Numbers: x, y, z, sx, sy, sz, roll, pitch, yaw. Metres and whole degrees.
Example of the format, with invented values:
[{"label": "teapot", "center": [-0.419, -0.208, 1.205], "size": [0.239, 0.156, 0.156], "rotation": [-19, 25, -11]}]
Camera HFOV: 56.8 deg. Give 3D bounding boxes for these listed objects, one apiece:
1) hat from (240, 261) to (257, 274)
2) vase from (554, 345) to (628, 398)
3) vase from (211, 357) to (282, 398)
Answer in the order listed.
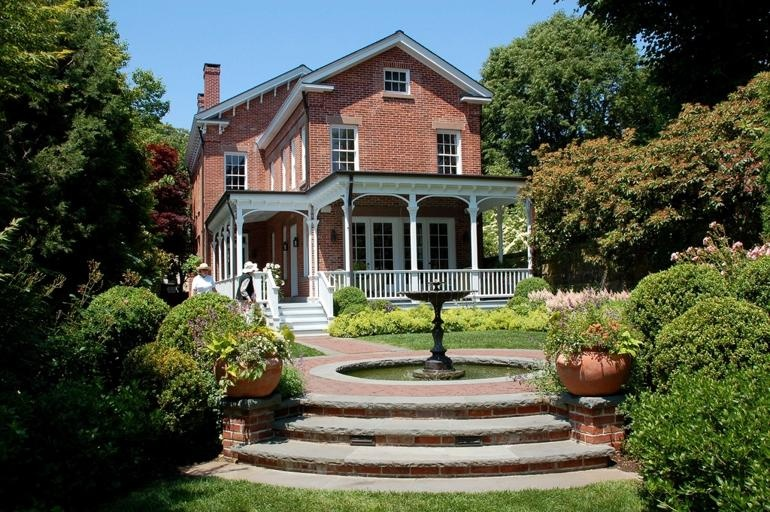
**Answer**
[{"label": "hat", "center": [-3.546, 0.326, 18.853], "size": [0.581, 0.235, 0.647], "rotation": [-3, -5, 14]}, {"label": "vase", "center": [3.334, 1.873, 11.371], "size": [0.802, 0.583, 0.850], "rotation": [0, -9, -2]}, {"label": "vase", "center": [-2.233, 2.112, 11.885], "size": [0.753, 0.441, 0.774], "rotation": [-8, -9, 33]}]
